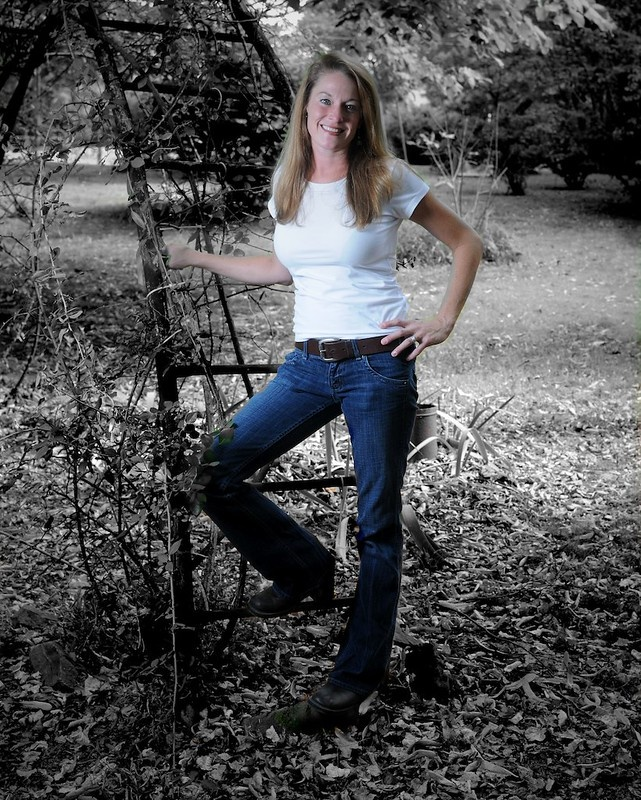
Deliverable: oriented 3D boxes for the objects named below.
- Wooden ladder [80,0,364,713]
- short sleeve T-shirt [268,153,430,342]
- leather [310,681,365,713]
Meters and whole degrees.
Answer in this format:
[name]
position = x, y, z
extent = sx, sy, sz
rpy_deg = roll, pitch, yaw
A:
[Wooden ladder]
position = -0.273, -0.176, 2.114
extent = 0.830, 1.572, 0.270
rpy_deg = -8, -1, -10
[short sleeve T-shirt]
position = 0.064, -0.353, 1.895
extent = 0.456, 0.368, 0.243
rpy_deg = 5, 15, 37
[leather]
position = 0.034, 0.698, 1.973
extent = 0.146, 0.053, 0.060
rpy_deg = 3, 24, -12
